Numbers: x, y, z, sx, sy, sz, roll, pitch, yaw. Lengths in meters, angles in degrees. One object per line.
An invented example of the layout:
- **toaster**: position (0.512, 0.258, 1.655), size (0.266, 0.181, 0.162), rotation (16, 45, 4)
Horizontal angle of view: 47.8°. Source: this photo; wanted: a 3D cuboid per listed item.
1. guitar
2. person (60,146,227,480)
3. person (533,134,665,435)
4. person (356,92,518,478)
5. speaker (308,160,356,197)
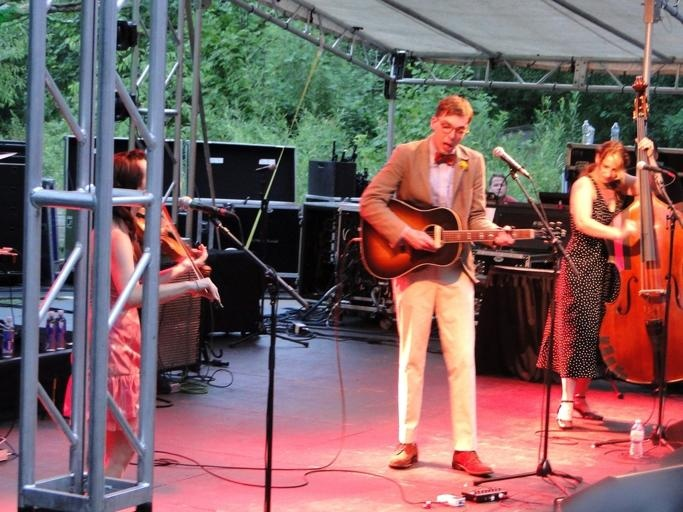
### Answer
- **guitar**: position (0.689, -0.073, 4.595), size (1.121, 0.468, 0.166), rotation (5, 9, 18)
- **person**: position (-1.016, 0.277, 3.798), size (0.584, 1.670, 0.727), rotation (20, 10, 42)
- **person**: position (1.925, 0.182, 5.853), size (0.786, 2.092, 0.829), rotation (1, 2, -44)
- **person**: position (0.608, 0.167, 4.709), size (0.992, 2.239, 0.555), rotation (1, -1, 14)
- **speaker**: position (-0.120, -1.163, 11.505), size (0.419, 0.519, 0.754), rotation (-4, 10, -31)
